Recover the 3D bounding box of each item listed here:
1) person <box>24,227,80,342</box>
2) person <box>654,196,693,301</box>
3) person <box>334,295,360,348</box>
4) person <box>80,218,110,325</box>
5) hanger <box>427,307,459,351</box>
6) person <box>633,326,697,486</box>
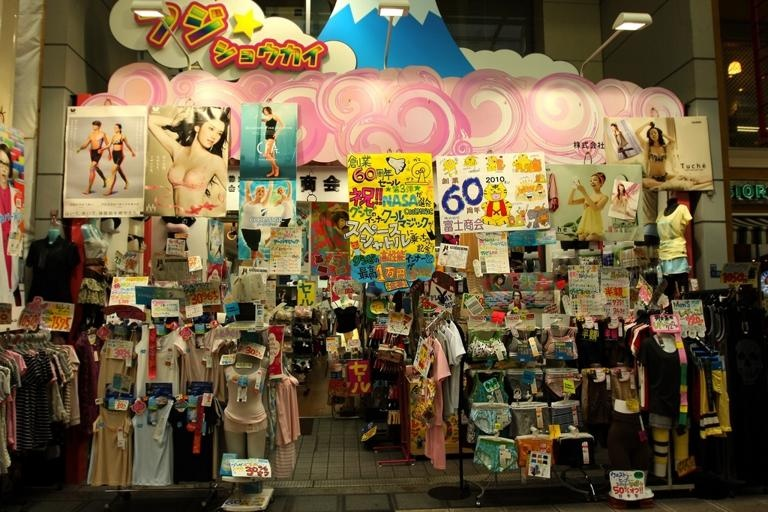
[{"bbox_3d":[-4.384,0.133,8.574,0.692,0.917,0.258,1,5,13],"label":"person"},{"bbox_3d":[4.108,-0.128,9.258,0.349,1.377,0.505,-2,5,-14],"label":"person"},{"bbox_3d":[-0.570,0.936,9.802,0.363,0.803,0.539,-1,5,-1],"label":"person"},{"bbox_3d":[-3.877,0.236,8.738,0.347,1.412,0.466,-2,5,-20],"label":"person"},{"bbox_3d":[0.787,0.906,8.015,0.298,0.449,0.565,-4,7,-32],"label":"hanger"},{"bbox_3d":[3.393,1.817,7.985,0.729,1.887,0.367,2,5,24],"label":"person"}]
